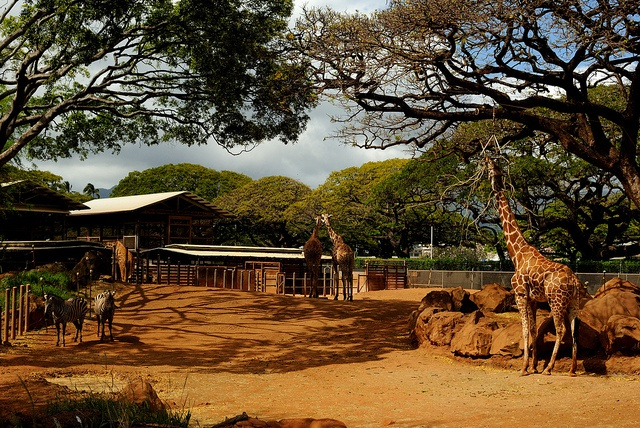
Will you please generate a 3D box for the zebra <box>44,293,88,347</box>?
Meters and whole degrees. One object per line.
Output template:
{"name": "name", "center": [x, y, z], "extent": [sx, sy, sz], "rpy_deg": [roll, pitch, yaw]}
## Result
{"name": "zebra", "center": [-9.921, 4.097, 28.363], "extent": [0.721, 1.909, 2.600], "rpy_deg": [-2, -4, 11]}
